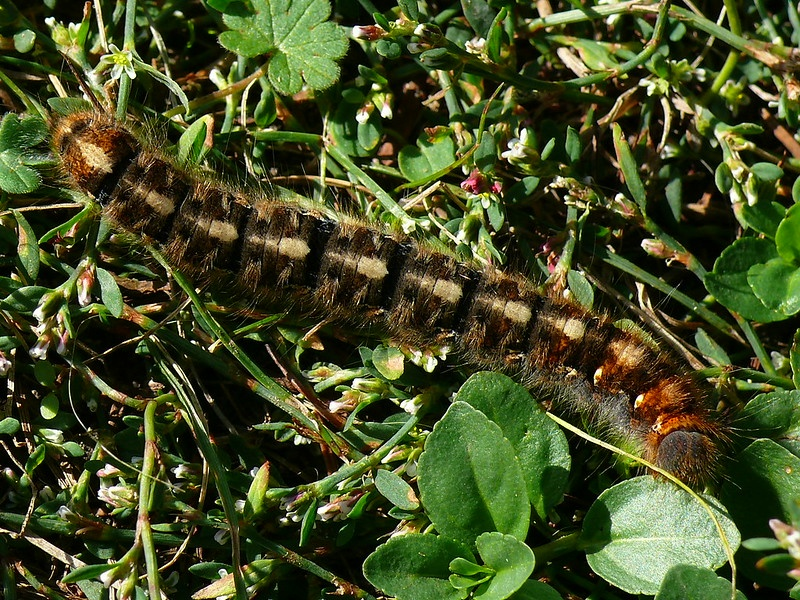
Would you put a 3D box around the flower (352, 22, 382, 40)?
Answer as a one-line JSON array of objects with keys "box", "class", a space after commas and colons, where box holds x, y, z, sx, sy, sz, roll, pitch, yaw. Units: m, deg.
[{"box": [-0.170, -1.359, 4.232, 0.148, 0.051, 0.086, 4, 90, 1], "class": "flower"}]

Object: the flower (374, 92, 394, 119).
[{"box": [-0.086, -1.067, 4.613, 0.090, 0.034, 0.141, -30, 77, 6], "class": "flower"}]

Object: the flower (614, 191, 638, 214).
[{"box": [1.196, -0.505, 4.477, 0.136, 0.052, 0.080, 40, 52, -23], "class": "flower"}]

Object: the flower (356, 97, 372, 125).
[{"box": [-0.188, -1.044, 4.635, 0.073, 0.050, 0.126, 25, 89, 17], "class": "flower"}]

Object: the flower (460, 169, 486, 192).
[{"box": [0.393, -0.622, 4.482, 0.110, 0.127, 0.066, 14, 28, 3], "class": "flower"}]

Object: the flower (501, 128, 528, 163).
[{"box": [0.622, -0.815, 4.358, 0.075, 0.180, 0.194, 20, 70, -34], "class": "flower"}]

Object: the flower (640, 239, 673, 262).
[{"box": [1.342, -0.259, 4.410, 0.146, 0.046, 0.097, 17, 60, -7], "class": "flower"}]
